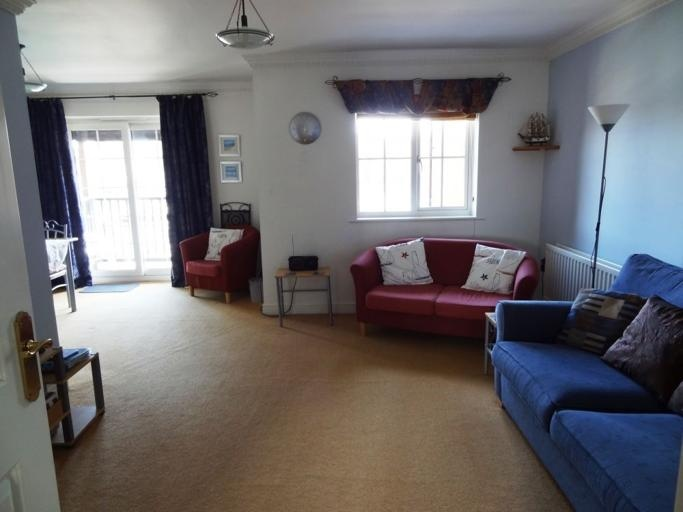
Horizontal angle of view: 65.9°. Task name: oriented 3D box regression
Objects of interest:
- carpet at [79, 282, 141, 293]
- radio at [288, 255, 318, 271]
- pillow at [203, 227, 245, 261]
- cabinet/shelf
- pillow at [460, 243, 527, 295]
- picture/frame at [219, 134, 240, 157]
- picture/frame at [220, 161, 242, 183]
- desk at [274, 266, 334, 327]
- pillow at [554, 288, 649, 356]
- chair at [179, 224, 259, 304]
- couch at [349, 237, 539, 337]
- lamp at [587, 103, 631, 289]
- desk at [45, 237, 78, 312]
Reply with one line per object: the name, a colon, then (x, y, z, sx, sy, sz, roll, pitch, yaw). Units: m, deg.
carpet: (-3.049, 0.427, 6.909, 0.702, 0.023, 0.494, -1, 10, -3)
radio: (-0.398, 0.074, 5.476, 0.291, 0.146, 0.223, 0, 10, -1)
pillow: (-1.516, -0.170, 6.594, 0.420, 0.431, 0.134, 4, -8, 21)
cabinet/shelf: (-1.907, 0.923, 3.695, 0.320, 0.677, 0.602, -1, 10, -2)
pillow: (1.404, 0.131, 4.909, 0.143, 0.478, 0.462, 26, -9, -39)
picture/frame: (-1.456, -1.442, 6.846, 0.244, 0.275, 0.019, 0, 8, -3)
picture/frame: (-1.450, -1.104, 6.901, 0.229, 0.257, 0.026, 1, 11, -3)
desk: (-0.385, 0.331, 5.367, 0.715, 0.728, 0.585, 1, -6, 4)
pillow: (1.751, 0.445, 3.596, 0.132, 0.434, 0.447, 26, 3, -20)
chair: (-1.540, 0.053, 6.600, 0.755, 0.841, 0.736, 6, 11, 25)
couch: (0.982, 0.333, 5.020, 1.601, 0.874, 0.864, 4, 11, 25)
lamp: (2.135, -0.455, 4.338, 0.254, 1.499, 0.623, 5, 12, 28)
desk: (-3.199, 0.193, 6.098, 0.272, 0.806, 0.972, -6, 11, -27)
